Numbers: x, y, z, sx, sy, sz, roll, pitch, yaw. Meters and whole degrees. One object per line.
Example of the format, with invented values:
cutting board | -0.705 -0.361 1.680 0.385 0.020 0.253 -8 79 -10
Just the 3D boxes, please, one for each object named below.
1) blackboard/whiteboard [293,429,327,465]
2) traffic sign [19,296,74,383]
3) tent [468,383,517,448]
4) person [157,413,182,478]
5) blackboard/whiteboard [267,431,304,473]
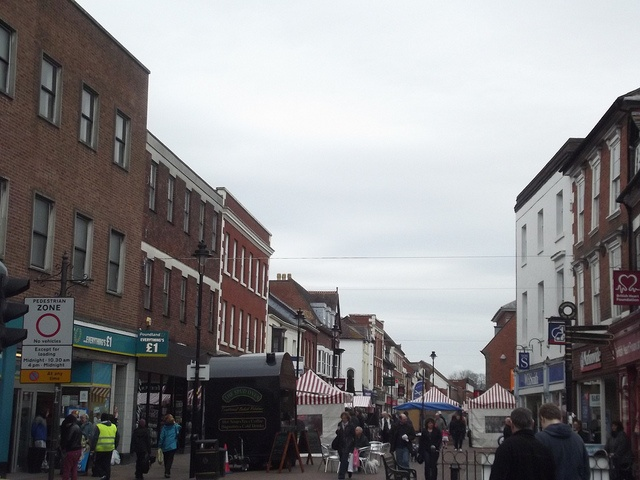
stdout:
blackboard/whiteboard | -0.336 8.361 33.692 0.779 1.287 0.851 6 -21 -29
traffic sign | -5.990 2.173 18.290 1.102 1.868 0.406 -3 -18 9
tent | 11.089 10.781 51.364 5.560 3.874 6.107 -1 -13 7
person | -4.799 6.476 26.213 0.474 1.982 0.726 0 -5 11
blackboard/whiteboard | -1.206 7.145 27.992 1.098 1.585 2.552 1 -20 -4
